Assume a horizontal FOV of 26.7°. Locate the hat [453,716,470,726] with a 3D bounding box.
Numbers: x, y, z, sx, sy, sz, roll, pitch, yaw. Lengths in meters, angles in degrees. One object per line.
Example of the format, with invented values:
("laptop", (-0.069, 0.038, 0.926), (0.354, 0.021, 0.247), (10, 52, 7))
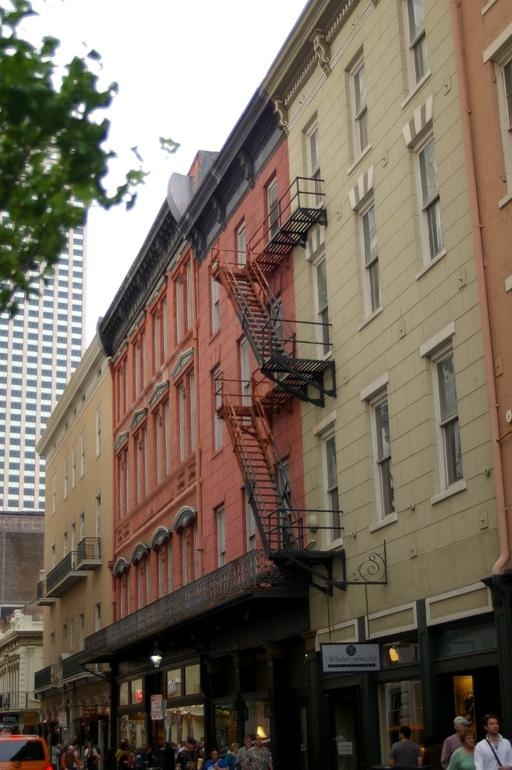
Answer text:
("hat", (2.518, 4.101, 13.084), (0.155, 0.128, 0.424), (-7, -23, 6))
